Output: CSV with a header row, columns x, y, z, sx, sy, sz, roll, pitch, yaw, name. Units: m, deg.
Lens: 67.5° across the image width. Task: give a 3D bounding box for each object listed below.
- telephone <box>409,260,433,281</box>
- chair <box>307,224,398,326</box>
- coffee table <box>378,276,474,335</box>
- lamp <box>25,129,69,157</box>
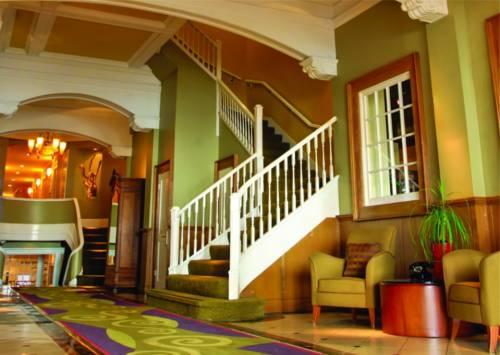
x,y,z,sx,sy,sz,roll,pitch,yaw,name
1.908,1.029,4.214,0.270,0.234,0.265,6,-8,-26,telephone
1.387,1.201,4.933,0.939,1.161,1.091,-10,-18,34,chair
1.931,1.426,4.279,0.872,0.524,0.873,-8,-14,27,coffee table
-6.069,-0.970,11.203,1.272,0.679,1.425,-1,2,-31,lamp
